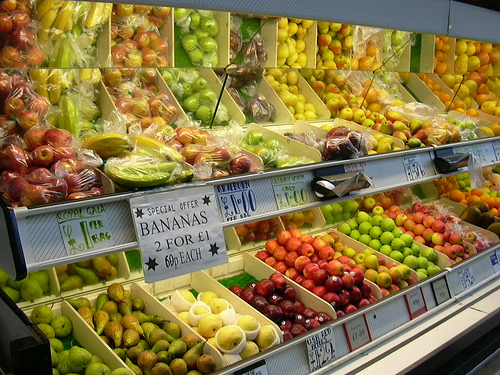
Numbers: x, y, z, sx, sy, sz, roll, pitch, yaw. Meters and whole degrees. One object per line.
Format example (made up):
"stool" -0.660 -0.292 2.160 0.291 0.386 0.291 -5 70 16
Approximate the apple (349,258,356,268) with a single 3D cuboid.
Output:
"apple" 0.663 0.484 2.377 0.039 0.046 0.042 8 3 -21

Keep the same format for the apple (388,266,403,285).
"apple" 0.939 0.555 2.376 0.088 0.098 0.092 10 15 -37

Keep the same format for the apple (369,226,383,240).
"apple" 0.931 0.329 2.740 0.077 0.097 0.079 24 -35 -9

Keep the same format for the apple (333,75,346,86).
"apple" 0.834 -0.998 3.458 0.080 0.092 0.105 -3 31 -13

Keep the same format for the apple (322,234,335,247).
"apple" 0.563 0.366 2.668 0.070 0.080 0.078 21 -25 4

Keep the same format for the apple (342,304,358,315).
"apple" 0.574 0.690 2.130 0.063 0.078 0.074 2 15 -5

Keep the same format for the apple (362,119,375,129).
"apple" 1.007 -0.549 3.149 0.084 0.090 0.104 33 9 2

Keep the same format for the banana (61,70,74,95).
"banana" -1.044 -0.599 2.138 0.027 0.131 0.075 15 11 9

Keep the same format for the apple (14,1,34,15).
"apple" -1.230 -0.998 2.040 0.074 0.069 0.067 18 38 13

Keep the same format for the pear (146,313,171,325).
"pear" -0.466 0.678 1.904 0.110 0.039 0.042 12 48 2

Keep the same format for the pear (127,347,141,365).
"pear" -0.531 0.772 1.697 0.056 0.068 0.062 12 -25 -30

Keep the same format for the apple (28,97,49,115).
"apple" -1.071 -0.420 1.888 0.078 0.085 0.085 -11 36 -8

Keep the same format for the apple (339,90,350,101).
"apple" 0.886 -0.873 3.470 0.072 0.106 0.035 -10 -12 -36

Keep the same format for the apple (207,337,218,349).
"apple" -0.184 0.749 1.807 0.036 0.029 0.072 -10 17 -14

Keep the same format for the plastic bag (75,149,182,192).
"plastic bag" -0.496 -0.064 1.491 0.315 0.134 0.194 0 -2 2

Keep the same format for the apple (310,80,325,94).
"apple" 0.631 -0.928 3.439 0.103 0.138 0.116 14 58 36

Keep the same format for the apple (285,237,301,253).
"apple" 0.286 0.378 2.461 0.077 0.106 0.079 -1 9 -33

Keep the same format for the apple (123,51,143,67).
"apple" -0.671 -0.731 2.138 0.100 0.093 0.089 14 17 -26

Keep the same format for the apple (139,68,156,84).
"apple" -0.633 -0.683 2.316 0.085 0.097 0.085 9 2 35

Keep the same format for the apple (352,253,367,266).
"apple" 0.739 0.474 2.494 0.062 0.059 0.075 -50 -3 -24

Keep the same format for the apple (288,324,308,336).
"apple" 0.255 0.757 1.982 0.097 0.032 0.070 1 18 24

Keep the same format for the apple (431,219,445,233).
"apple" 1.438 0.296 2.829 0.093 0.082 0.077 33 -2 -36

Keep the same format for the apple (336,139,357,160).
"apple" 0.571 -0.222 2.121 0.086 0.099 0.159 -11 17 -19

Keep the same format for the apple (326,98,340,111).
"apple" 0.750 -0.745 3.317 0.094 0.129 0.098 8 21 30

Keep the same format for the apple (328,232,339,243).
"apple" 0.613 0.357 2.708 0.059 0.064 0.058 29 6 15

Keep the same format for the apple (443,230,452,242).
"apple" 1.491 0.351 2.801 0.062 0.088 0.066 5 20 20

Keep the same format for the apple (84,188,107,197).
"apple" -0.623 0.020 1.487 0.052 0.024 0.043 -13 1 -10

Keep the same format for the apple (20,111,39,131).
"apple" -1.072 -0.329 1.854 0.080 0.094 0.103 6 3 -9

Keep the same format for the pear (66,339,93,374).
"pear" -0.736 0.736 1.630 0.086 0.083 0.110 -35 65 -24

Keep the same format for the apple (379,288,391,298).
"apple" 0.844 0.647 2.315 0.054 0.047 0.103 2 18 25

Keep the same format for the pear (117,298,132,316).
"pear" -0.648 0.628 1.944 0.058 0.082 0.059 -36 -14 3

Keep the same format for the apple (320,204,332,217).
"apple" 0.600 0.175 2.877 0.127 0.096 0.039 -16 18 -32

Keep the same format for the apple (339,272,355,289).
"apple" 0.574 0.546 2.226 0.071 0.091 0.077 -28 64 -12

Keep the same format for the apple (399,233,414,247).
"apple" 1.143 0.376 2.693 0.067 0.085 0.135 10 22 44

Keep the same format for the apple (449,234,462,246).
"apple" 1.529 0.387 2.777 0.082 0.078 0.073 -9 -8 1

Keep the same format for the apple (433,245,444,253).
"apple" 1.384 0.440 2.715 0.040 0.044 0.046 -8 39 3

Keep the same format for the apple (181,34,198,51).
"apple" -0.334 -0.819 2.101 0.080 0.111 0.084 2 -6 -22

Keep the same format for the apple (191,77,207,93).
"apple" -0.358 -0.728 2.655 0.083 0.087 0.099 -31 2 -23

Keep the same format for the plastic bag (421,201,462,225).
"plastic bag" 1.564 0.262 3.015 0.233 0.105 0.246 21 6 -16

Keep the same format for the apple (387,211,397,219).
"apple" 1.154 0.218 2.995 0.047 0.055 0.049 6 20 3

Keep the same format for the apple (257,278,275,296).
"apple" 0.095 0.577 2.148 0.091 0.086 0.083 -7 -27 -14

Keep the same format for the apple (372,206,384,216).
"apple" 1.029 0.181 2.970 0.061 0.068 0.067 -2 55 -1

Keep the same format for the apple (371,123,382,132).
"apple" 1.056 -0.508 3.089 0.059 0.074 0.061 -29 45 -18

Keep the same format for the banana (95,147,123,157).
"banana" -0.612 -0.157 1.616 0.151 0.044 0.060 -4 7 -1

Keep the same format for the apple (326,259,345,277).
"apple" 0.514 0.477 2.266 0.099 0.093 0.085 4 6 17

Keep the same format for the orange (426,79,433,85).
"orange" 1.942 -1.144 4.027 0.068 0.063 0.059 21 3 -29

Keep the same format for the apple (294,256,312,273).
"apple" 0.328 0.470 2.338 0.085 0.096 0.087 2 39 -18

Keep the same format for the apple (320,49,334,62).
"apple" 0.726 -1.235 3.453 0.083 0.111 0.092 -2 38 20

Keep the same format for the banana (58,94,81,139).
"banana" -0.946 -0.359 1.991 0.117 0.243 0.088 -9 -2 -13

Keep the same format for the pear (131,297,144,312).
"pear" -0.601 0.625 1.996 0.053 0.060 0.055 22 9 -10

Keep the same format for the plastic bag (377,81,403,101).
"plastic bag" 1.402 -0.977 3.689 0.231 0.093 0.206 28 5 19

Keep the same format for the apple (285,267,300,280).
"apple" 0.270 0.530 2.345 0.060 0.067 0.077 23 22 25

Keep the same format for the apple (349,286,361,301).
"apple" 0.620 0.620 2.186 0.066 0.091 0.068 -21 -21 31

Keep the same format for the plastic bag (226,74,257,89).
"plastic bag" -0.069 -0.804 2.783 0.136 0.055 0.126 -17 -16 38
